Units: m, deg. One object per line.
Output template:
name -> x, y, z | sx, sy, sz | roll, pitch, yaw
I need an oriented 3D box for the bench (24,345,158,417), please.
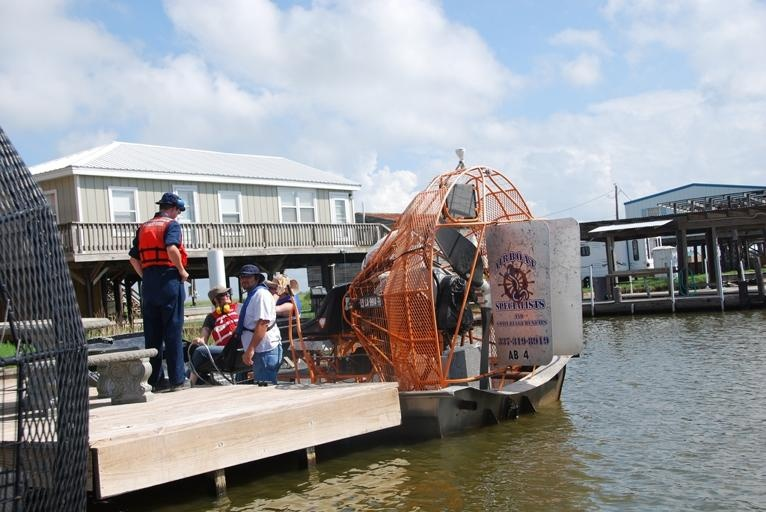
bench -> -3.375, 1.401, 7.708 | 1.956, 0.799, 0.583 | -5, -9, 44

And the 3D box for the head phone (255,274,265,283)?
head phone -> -1.746, 0.336, 9.998 | 0.147, 0.123, 0.037 | 1, 3, -42

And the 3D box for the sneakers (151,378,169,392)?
sneakers -> -2.912, 1.714, 9.255 | 0.150, 0.080, 0.223 | 3, 9, 19

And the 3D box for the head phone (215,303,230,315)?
head phone -> -2.439, 0.838, 10.789 | 0.195, 0.135, 0.082 | -8, -15, -3

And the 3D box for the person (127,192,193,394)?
person -> -2.774, 0.499, 9.004 | 0.542, 2.234, 0.609 | -3, 2, -18

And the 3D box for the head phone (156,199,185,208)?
head phone -> -2.734, -0.693, 9.217 | 0.274, 0.113, 0.208 | -1, 3, -30

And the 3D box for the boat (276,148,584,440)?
boat -> 0.407, 0.495, 11.875 | 5.512, 4.164, 3.996 | -4, -4, 37

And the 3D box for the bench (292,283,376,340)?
bench -> -0.723, 0.882, 11.027 | 0.965, 0.602, 0.970 | -4, -4, 42

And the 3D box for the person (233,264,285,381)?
person -> -1.727, 1.009, 9.833 | 0.602, 1.356, 0.925 | -3, 1, -11
